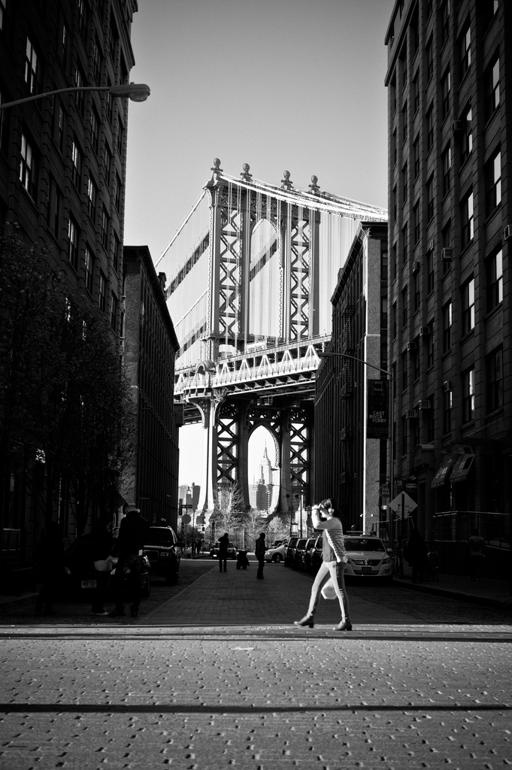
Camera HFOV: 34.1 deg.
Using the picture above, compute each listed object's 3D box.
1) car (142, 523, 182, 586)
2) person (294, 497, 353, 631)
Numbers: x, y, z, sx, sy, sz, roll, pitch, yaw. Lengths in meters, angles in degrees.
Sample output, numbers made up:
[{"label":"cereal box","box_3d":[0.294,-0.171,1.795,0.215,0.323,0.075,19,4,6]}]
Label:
[{"label":"car","box_3d":[-3.208,5.812,28.083,1.188,2.352,3.623,-1,-14,2]},{"label":"person","box_3d":[0.966,2.490,11.439,0.540,1.875,0.486,-4,-33,13]}]
